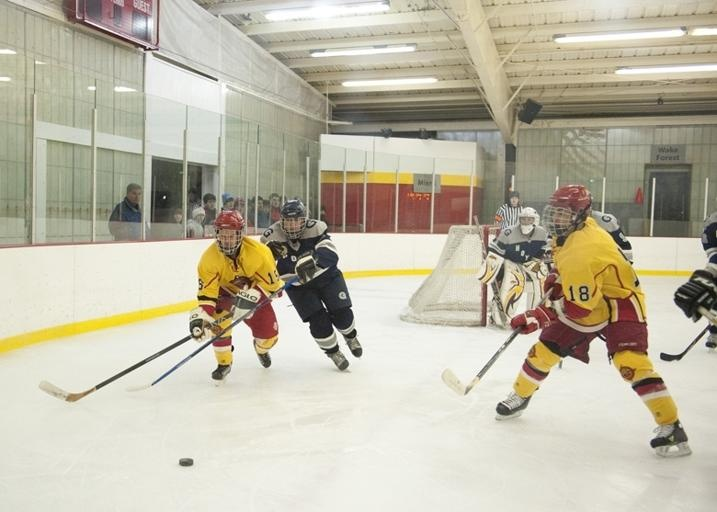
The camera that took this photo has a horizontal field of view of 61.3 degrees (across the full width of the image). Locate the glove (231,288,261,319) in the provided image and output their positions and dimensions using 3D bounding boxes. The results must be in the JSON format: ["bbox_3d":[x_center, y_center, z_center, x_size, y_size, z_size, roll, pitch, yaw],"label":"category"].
[{"bbox_3d":[-0.856,0.364,4.633,0.167,0.241,0.121,8,6,8],"label":"glove"}]

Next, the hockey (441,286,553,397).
[{"bbox_3d":[1.240,0.768,5.379,0.167,0.952,0.140,38,-8,0],"label":"hockey"}]

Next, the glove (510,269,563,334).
[{"bbox_3d":[1.235,0.358,4.127,0.143,0.387,0.389,28,30,-11],"label":"glove"}]

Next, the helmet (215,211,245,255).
[{"bbox_3d":[-0.978,-0.169,4.635,0.218,0.339,0.175,-2,12,-13],"label":"helmet"}]

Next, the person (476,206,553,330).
[{"bbox_3d":[1.849,0.115,6.793,0.852,1.315,0.678,2,15,16],"label":"person"}]

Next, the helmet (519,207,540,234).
[{"bbox_3d":[1.913,-0.381,6.703,0.228,0.294,0.296,0,-2,29],"label":"helmet"}]

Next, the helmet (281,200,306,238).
[{"bbox_3d":[-0.534,-0.295,5.001,0.221,0.324,0.249,-1,11,-8],"label":"helmet"}]

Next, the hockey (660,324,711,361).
[{"bbox_3d":[2.951,0.854,5.505,0.389,0.395,0.103,-29,60,-25],"label":"hockey"}]

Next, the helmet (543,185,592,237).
[{"bbox_3d":[1.369,-0.317,4.140,0.341,0.336,0.277,-10,9,-14],"label":"helmet"}]

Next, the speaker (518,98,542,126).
[{"bbox_3d":[3.711,-3.149,13.078,0.398,0.561,0.332,28,29,-1],"label":"speaker"}]

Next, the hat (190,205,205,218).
[{"bbox_3d":[-2.008,-0.561,7.589,0.130,0.119,0.099,-24,-11,3],"label":"hat"}]

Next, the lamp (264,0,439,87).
[{"bbox_3d":[0.007,-3.717,11.047,2.636,0.903,4.350,3,12,10],"label":"lamp"}]

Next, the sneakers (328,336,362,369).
[{"bbox_3d":[-0.120,0.835,5.311,0.141,0.193,0.455,-42,7,-9],"label":"sneakers"}]

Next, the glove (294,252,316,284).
[{"bbox_3d":[-0.420,0.101,4.889,0.073,0.198,0.193,11,18,31],"label":"glove"}]

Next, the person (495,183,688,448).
[{"bbox_3d":[1.553,0.371,3.979,1.133,1.609,0.445,6,13,26],"label":"person"}]
